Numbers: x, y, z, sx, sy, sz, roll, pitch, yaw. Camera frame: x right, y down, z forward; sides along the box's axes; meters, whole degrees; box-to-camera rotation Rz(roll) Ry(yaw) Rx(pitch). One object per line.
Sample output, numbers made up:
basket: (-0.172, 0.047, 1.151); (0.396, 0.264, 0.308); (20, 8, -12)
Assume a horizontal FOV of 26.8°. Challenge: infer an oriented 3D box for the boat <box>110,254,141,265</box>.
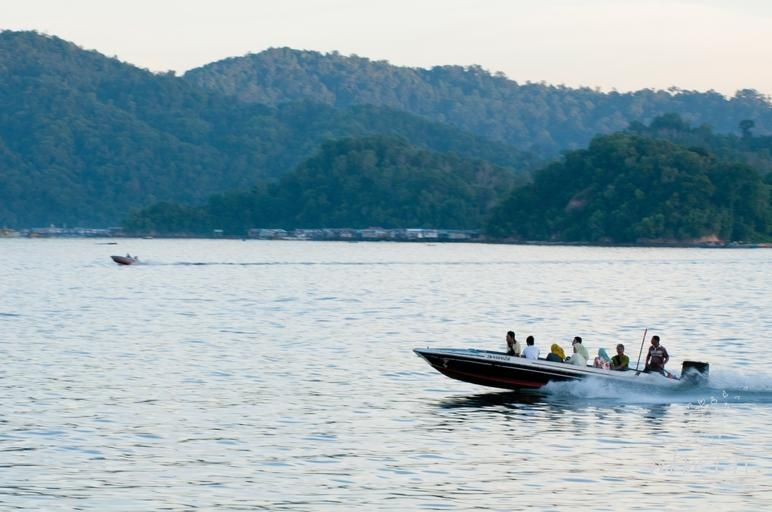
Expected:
boat: (-66.020, 0.854, 409.883); (6.222, 2.534, 10.448); (1, 0, -4)
